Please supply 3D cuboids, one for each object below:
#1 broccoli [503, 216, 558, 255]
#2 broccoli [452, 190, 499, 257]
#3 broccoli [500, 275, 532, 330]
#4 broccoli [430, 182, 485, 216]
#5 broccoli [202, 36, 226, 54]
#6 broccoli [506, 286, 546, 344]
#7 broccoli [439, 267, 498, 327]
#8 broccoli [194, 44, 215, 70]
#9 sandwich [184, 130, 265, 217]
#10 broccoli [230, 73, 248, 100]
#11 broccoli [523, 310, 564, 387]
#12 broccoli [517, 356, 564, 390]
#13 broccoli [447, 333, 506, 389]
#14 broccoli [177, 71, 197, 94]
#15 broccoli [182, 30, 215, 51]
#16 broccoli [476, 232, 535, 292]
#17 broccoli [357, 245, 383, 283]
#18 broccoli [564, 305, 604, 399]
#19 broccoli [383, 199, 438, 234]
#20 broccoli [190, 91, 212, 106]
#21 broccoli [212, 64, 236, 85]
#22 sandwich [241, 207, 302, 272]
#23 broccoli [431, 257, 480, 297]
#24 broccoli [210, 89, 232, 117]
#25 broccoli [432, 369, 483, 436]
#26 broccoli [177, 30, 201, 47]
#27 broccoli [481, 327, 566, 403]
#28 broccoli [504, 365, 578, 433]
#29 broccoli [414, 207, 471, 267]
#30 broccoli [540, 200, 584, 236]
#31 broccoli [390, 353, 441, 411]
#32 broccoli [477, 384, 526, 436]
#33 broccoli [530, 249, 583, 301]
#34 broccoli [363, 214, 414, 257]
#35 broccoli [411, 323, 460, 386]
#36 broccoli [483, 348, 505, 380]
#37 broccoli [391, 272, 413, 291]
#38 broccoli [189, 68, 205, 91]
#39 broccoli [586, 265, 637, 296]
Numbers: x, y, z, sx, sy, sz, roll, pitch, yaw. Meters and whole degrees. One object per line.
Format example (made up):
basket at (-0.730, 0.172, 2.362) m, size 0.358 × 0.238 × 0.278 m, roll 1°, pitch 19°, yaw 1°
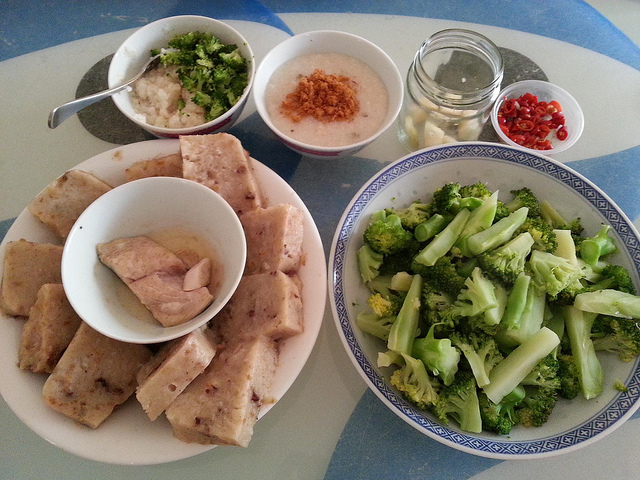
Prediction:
broccoli at (1.194, -0.036, 3.167) m, size 0.251 × 0.216 × 0.202 m, roll 7°, pitch 33°, yaw -8°
broccoli at (0.899, -0.096, 3.116) m, size 0.122 × 0.098 × 0.391 m, roll 32°, pitch 97°, yaw 47°
broccoli at (1.126, 0.341, 3.099) m, size 0.147 × 0.580 × 0.142 m, roll -19°, pitch 99°, yaw 29°
broccoli at (0.822, -0.212, 3.163) m, size 0.226 × 0.297 × 0.149 m, roll 5°, pitch 89°, yaw -32°
broccoli at (-0.684, -1.241, 3.570) m, size 0.120 × 0.033 × 0.112 m, roll 25°, pitch 67°, yaw -21°
broccoli at (1.127, 0.422, 3.084) m, size 0.178 × 0.099 × 0.329 m, roll 27°, pitch 72°, yaw -11°
broccoli at (0.808, 0.318, 2.964) m, size 0.311 × 0.098 × 0.316 m, roll -38°, pitch 57°, yaw 18°
broccoli at (-0.750, -1.148, 3.555) m, size 0.108 × 0.039 × 0.168 m, roll -36°, pitch 95°, yaw -28°
sandwich at (-0.564, -0.412, 3.312) m, size 0.313 × 0.527 × 0.106 m, roll -22°, pitch 73°, yaw 3°
broccoli at (-0.507, -0.985, 3.559) m, size 0.103 × 0.036 × 0.157 m, roll 17°, pitch 71°, yaw 23°
broccoli at (1.203, 0.579, 2.926) m, size 0.312 × 0.098 × 0.328 m, roll -18°, pitch 110°, yaw -24°
broccoli at (1.164, 0.697, 2.919) m, size 0.168 × 0.149 × 0.137 m, roll 19°, pitch 96°, yaw -20°
broccoli at (0.910, 0.654, 2.985) m, size 0.177 × 0.217 × 0.205 m, roll 1°, pitch 83°, yaw -31°
broccoli at (-0.843, -1.006, 3.524) m, size 0.092 × 0.042 × 0.136 m, roll -15°, pitch 74°, yaw -13°
broccoli at (-0.798, -1.293, 3.665) m, size 0.202 × 0.057 × 0.112 m, roll -33°, pitch 85°, yaw -5°
broccoli at (1.023, 0.115, 3.127) m, size 0.240 × 0.164 × 0.308 m, roll 40°, pitch 65°, yaw 2°
broccoli at (0.286, 0.137, 3.130) m, size 0.150 × 0.045 × 0.190 m, roll -17°, pitch 91°, yaw 6°
broccoli at (1.430, 0.615, 3.069) m, size 0.163 × 0.122 × 0.502 m, roll -6°, pitch 74°, yaw 3°
broccoli at (0.558, -0.148, 3.230) m, size 0.217 × 0.214 × 0.083 m, roll -17°, pitch 118°, yaw 1°
broccoli at (-0.750, -0.890, 3.504) m, size 0.137 × 0.043 × 0.084 m, roll 21°, pitch 83°, yaw 4°
broccoli at (-0.615, -1.054, 3.515) m, size 0.123 × 0.040 × 0.130 m, roll -18°, pitch 84°, yaw -20°
sandwich at (-0.337, -0.044, 3.150) m, size 0.077 × 0.307 × 0.290 m, roll 18°, pitch 72°, yaw -26°
broccoli at (0.736, 0.184, 3.029) m, size 0.243 × 0.118 × 0.205 m, roll -28°, pitch 83°, yaw 18°
broccoli at (-0.632, -0.864, 3.512) m, size 0.148 × 0.051 × 0.152 m, roll -6°, pitch 80°, yaw -14°
broccoli at (0.793, 0.865, 3.020) m, size 0.308 × 0.258 × 0.295 m, roll -27°, pitch 75°, yaw 18°
broccoli at (-0.856, -1.300, 3.591) m, size 0.087 × 0.039 × 0.128 m, roll 24°, pitch 67°, yaw -1°
broccoli at (1.062, 0.666, 2.926) m, size 0.477 × 0.183 × 0.191 m, roll -36°, pitch 83°, yaw -4°
broccoli at (1.194, 0.798, 3.022) m, size 0.372 × 0.323 × 0.205 m, roll -23°, pitch 31°, yaw -4°
broccoli at (0.720, -0.016, 3.106) m, size 0.097 × 0.108 × 0.434 m, roll 44°, pitch 85°, yaw 6°
broccoli at (1.392, -0.105, 3.193) m, size 0.151 × 0.105 × 0.227 m, roll -26°, pitch 78°, yaw 30°
broccoli at (0.515, 0.756, 2.927) m, size 0.239 × 0.226 × 0.217 m, roll -10°, pitch 29°, yaw -36°
broccoli at (0.951, 0.894, 2.920) m, size 0.171 × 0.155 × 0.219 m, roll 48°, pitch 66°, yaw -30°
broccoli at (1.290, 0.195, 3.033) m, size 0.202 × 0.084 × 0.259 m, roll -37°, pitch 69°, yaw -4°
broccoli at (0.380, -0.018, 3.086) m, size 0.224 × 0.144 × 0.230 m, roll -6°, pitch 90°, yaw -3°
broccoli at (0.625, 0.605, 2.918) m, size 0.314 × 0.153 × 0.233 m, roll 30°, pitch 87°, yaw 23°
broccoli at (0.947, 0.665, 2.996) m, size 0.129 × 0.052 × 0.128 m, roll -21°, pitch 41°, yaw 18°
broccoli at (0.468, 0.231, 3.113) m, size 0.109 × 0.043 × 0.087 m, roll -32°, pitch 100°, yaw -7°
broccoli at (-0.789, -1.026, 3.531) m, size 0.126 × 0.036 × 0.125 m, roll 3°, pitch 104°, yaw 33°
broccoli at (1.633, 0.214, 3.102) m, size 0.200 × 0.172 × 0.173 m, roll -26°, pitch 116°, yaw 2°
